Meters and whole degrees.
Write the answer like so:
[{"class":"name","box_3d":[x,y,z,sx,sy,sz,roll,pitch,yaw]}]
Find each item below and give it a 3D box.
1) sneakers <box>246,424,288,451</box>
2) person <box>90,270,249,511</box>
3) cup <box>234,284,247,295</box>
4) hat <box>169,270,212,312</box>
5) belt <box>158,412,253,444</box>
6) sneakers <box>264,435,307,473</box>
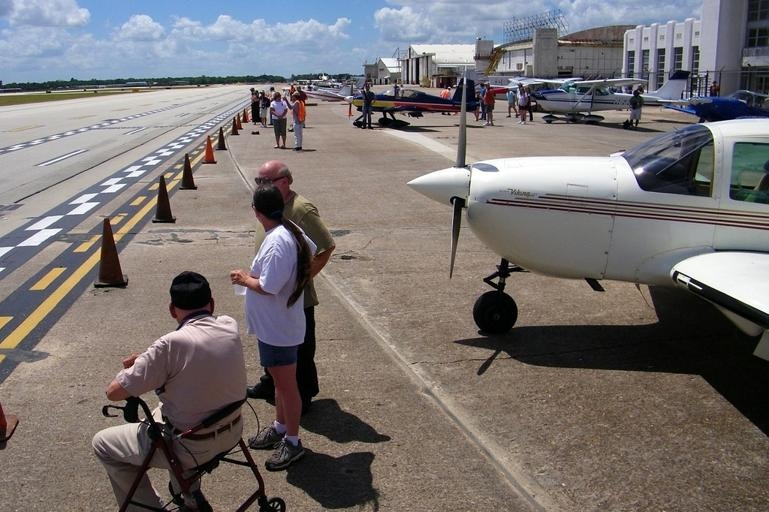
[{"class":"sneakers","box_3d":[-0.999,1.556,4.757,0.399,0.157,0.142,1,31,-24]},{"class":"person","box_3d":[-1.426,0.999,3.813,0.982,1.638,0.619,-10,24,-26]},{"class":"cup","box_3d":[-1.173,0.283,4.596,0.100,0.064,0.095,1,1,0]},{"class":"hat","box_3d":[-1.352,0.192,3.927,0.271,0.164,0.333,-6,23,-13]},{"class":"belt","box_3d":[-1.206,1.146,3.833,0.350,0.180,0.259,10,3,-9]},{"class":"sneakers","box_3d":[-0.819,1.628,4.623,0.177,0.168,0.417,10,6,32]}]
